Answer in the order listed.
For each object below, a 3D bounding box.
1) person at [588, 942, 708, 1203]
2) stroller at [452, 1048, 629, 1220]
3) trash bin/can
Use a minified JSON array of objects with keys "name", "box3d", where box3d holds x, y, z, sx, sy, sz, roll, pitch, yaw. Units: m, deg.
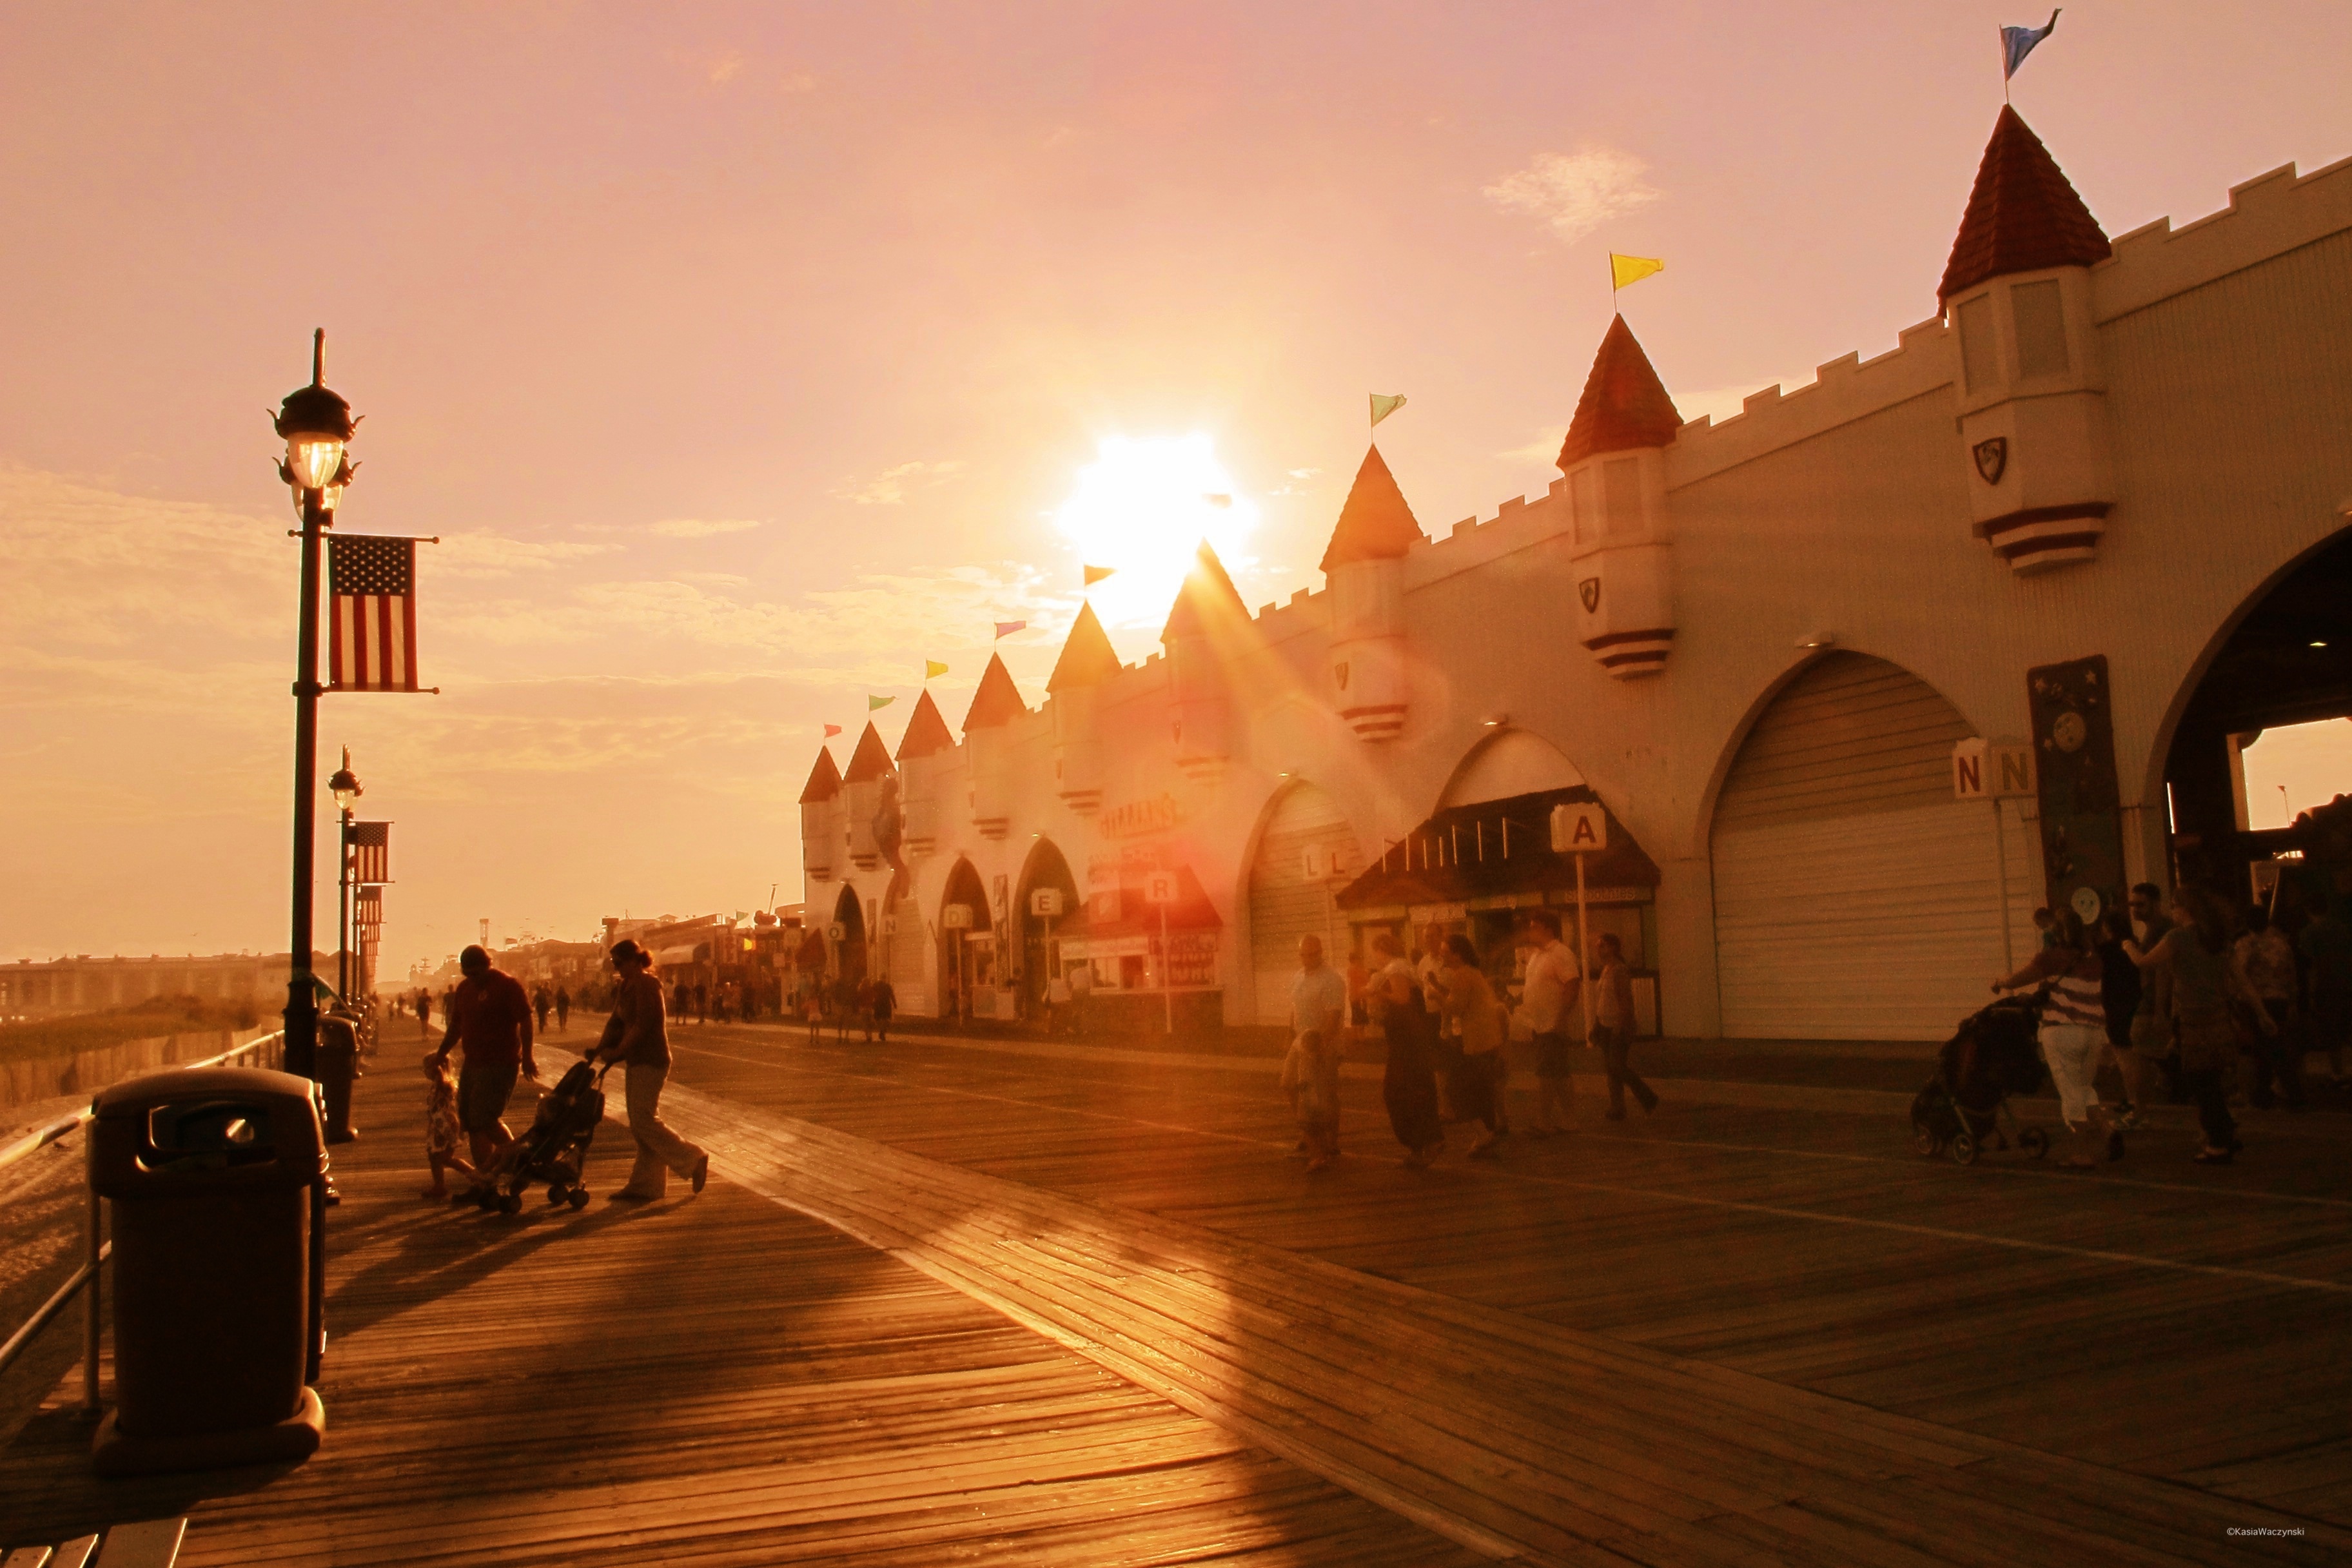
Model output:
[{"name":"person","box3d":[-5.290,2.811,18.372,1.338,2.757,1.078,0,-3,-5]},{"name":"stroller","box3d":[-6.299,3.420,18.081,1.427,1.620,0.756,2,-5,-38]},{"name":"trash bin/can","box3d":[-5.594,2.769,10.768,1.197,2.518,0.554,-2,0,-26]}]
